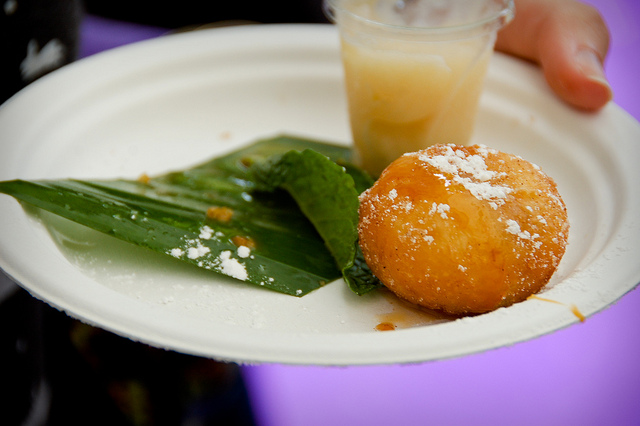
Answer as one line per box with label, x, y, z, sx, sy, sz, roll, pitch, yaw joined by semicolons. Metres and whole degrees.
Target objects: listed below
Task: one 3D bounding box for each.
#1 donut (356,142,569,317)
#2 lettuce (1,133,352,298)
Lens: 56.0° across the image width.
donut;0.259;0.003;1.173;0.397;0.225;0.390;18;43;20
lettuce;-0.232;0.030;1.215;0.486;0.083;0.350;16;32;-9
